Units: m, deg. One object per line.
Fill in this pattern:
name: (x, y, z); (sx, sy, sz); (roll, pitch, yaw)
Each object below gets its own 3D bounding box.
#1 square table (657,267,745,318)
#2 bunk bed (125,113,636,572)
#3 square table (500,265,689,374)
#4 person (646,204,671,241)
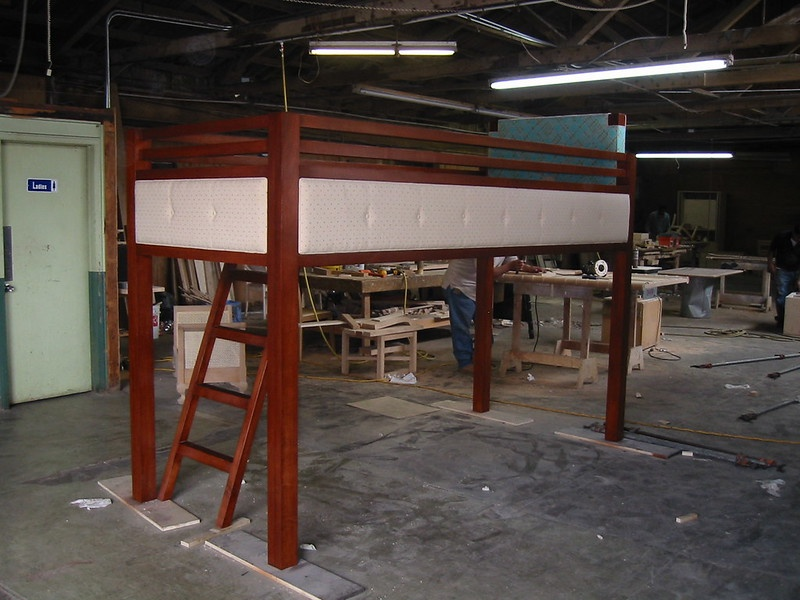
square table: (5.802, -0.161, 11.666); (1.724, 0.779, 1.439); (-4, 11, -10)
bunk bed: (0.066, 0.038, 5.062); (4.031, 2.687, 1.887); (-8, 15, -37)
square table: (2.456, 0.271, 8.005); (1.806, 1.183, 3.230); (8, 9, 39)
person: (6.514, -1.962, 15.658); (0.533, 0.796, 1.036); (7, 13, 23)
